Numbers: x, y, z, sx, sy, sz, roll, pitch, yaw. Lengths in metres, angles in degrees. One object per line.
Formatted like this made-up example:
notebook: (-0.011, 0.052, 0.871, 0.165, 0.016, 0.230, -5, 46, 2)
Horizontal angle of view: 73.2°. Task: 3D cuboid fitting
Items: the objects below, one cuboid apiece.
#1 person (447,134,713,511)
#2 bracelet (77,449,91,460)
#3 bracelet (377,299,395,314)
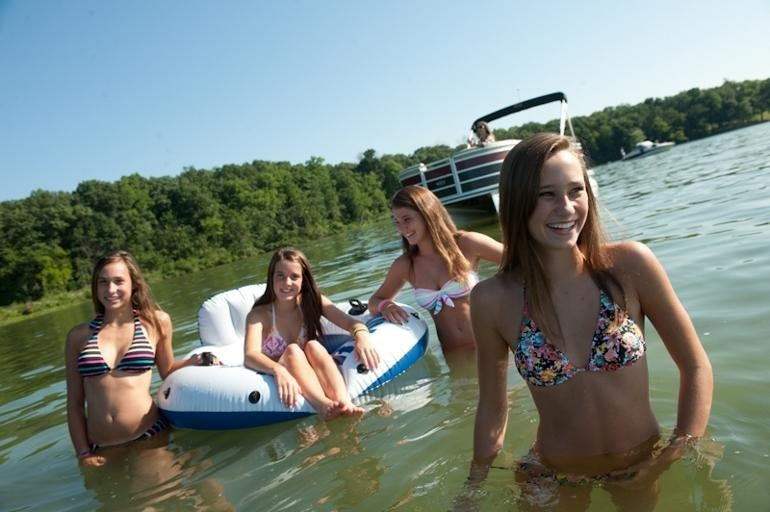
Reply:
person: (1.143, 0.377, 3.055, 1.275, 1.804, 0.407, -14, 3, -3)
bracelet: (-2.918, 1.932, 5.041, 0.098, 0.027, 0.096, -20, -1, 42)
bracelet: (0.011, 0.612, 6.122, 0.149, 0.055, 0.151, -33, -8, 8)
